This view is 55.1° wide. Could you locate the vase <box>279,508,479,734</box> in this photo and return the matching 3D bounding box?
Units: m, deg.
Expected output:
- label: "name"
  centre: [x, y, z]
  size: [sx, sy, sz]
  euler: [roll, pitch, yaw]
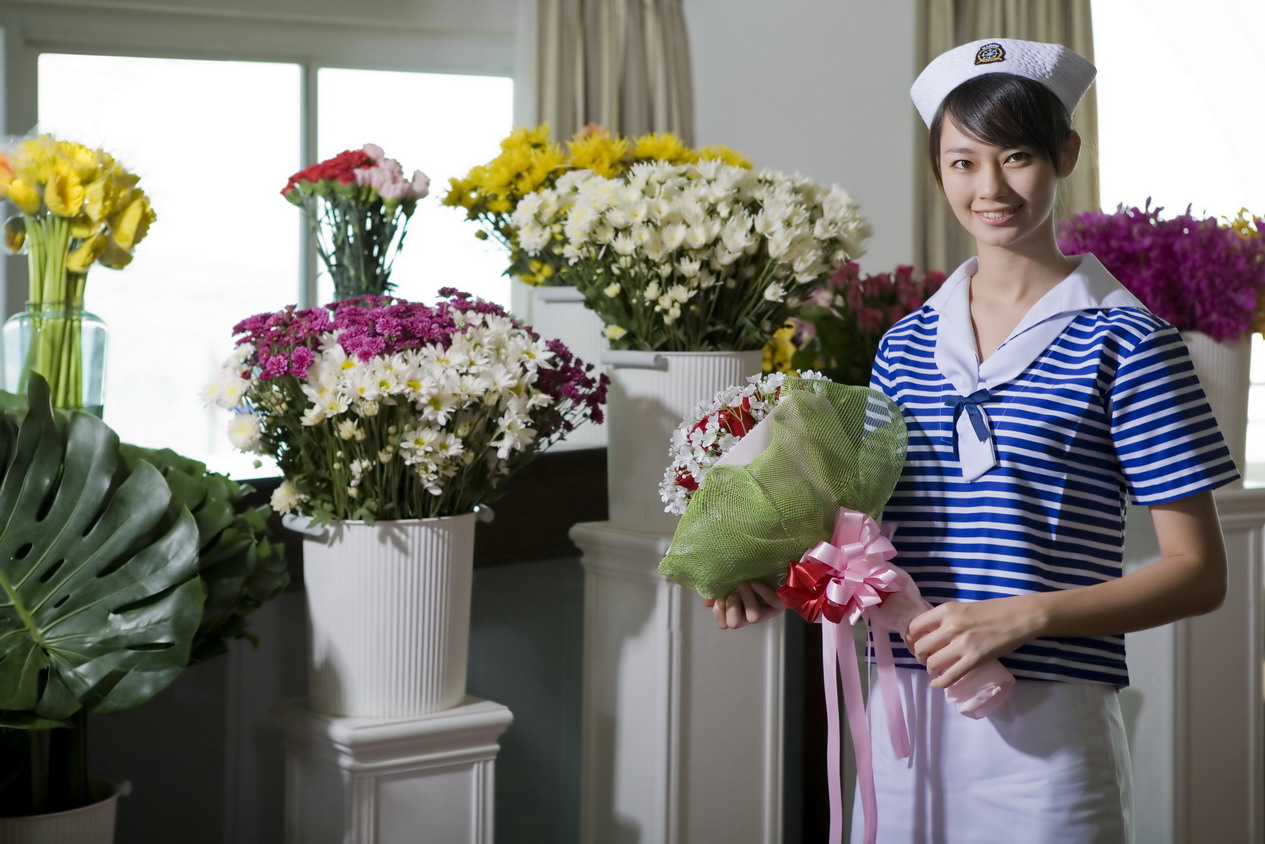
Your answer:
- label: "vase"
  centre: [-0.413, 0.313, 2.138]
  size: [0.310, 0.319, 0.343]
  euler: [-1, -2, 33]
